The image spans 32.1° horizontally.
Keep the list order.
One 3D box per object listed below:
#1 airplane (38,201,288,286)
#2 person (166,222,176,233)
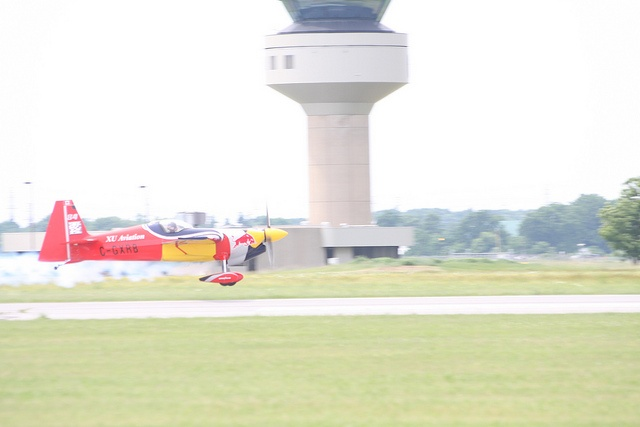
[{"bbox_3d":[-9.260,1.262,60.988,11.380,3.962,2.547,-1,-2,13],"label":"airplane"},{"bbox_3d":[-8.025,0.733,59.813,0.667,0.609,0.227,-1,-3,-4],"label":"person"}]
